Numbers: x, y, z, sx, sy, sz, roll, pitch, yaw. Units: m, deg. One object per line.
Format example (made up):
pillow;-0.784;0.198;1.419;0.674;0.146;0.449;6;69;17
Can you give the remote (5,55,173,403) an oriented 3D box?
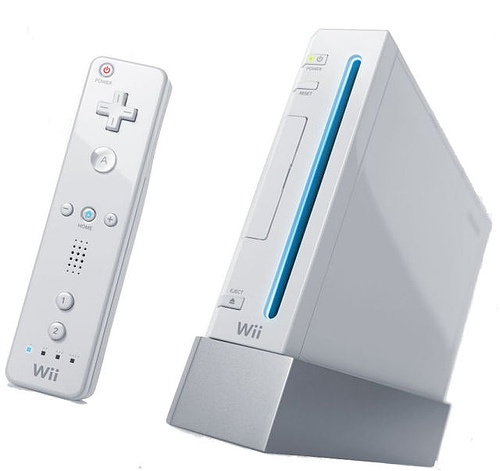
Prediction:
remote;-0.225;0.002;0.832;0.284;0.228;0.478;7;-68;-8
